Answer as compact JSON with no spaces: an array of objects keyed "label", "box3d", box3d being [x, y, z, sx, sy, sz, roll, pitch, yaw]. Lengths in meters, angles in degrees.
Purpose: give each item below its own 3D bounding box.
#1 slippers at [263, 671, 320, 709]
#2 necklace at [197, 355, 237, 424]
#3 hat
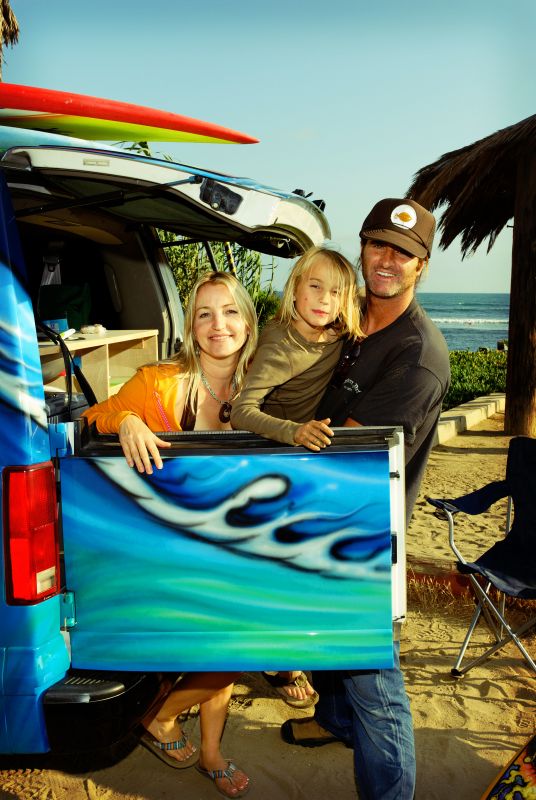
[{"label":"slippers","box3d":[0.096,1.498,3.258,0.333,0.130,0.128,-5,1,44]},{"label":"necklace","box3d":[-0.175,-0.027,2.203,0.132,0.213,0.079,-10,5,-31]},{"label":"hat","box3d":[0.520,-0.643,2.547,0.320,0.215,0.429,24,13,2]}]
